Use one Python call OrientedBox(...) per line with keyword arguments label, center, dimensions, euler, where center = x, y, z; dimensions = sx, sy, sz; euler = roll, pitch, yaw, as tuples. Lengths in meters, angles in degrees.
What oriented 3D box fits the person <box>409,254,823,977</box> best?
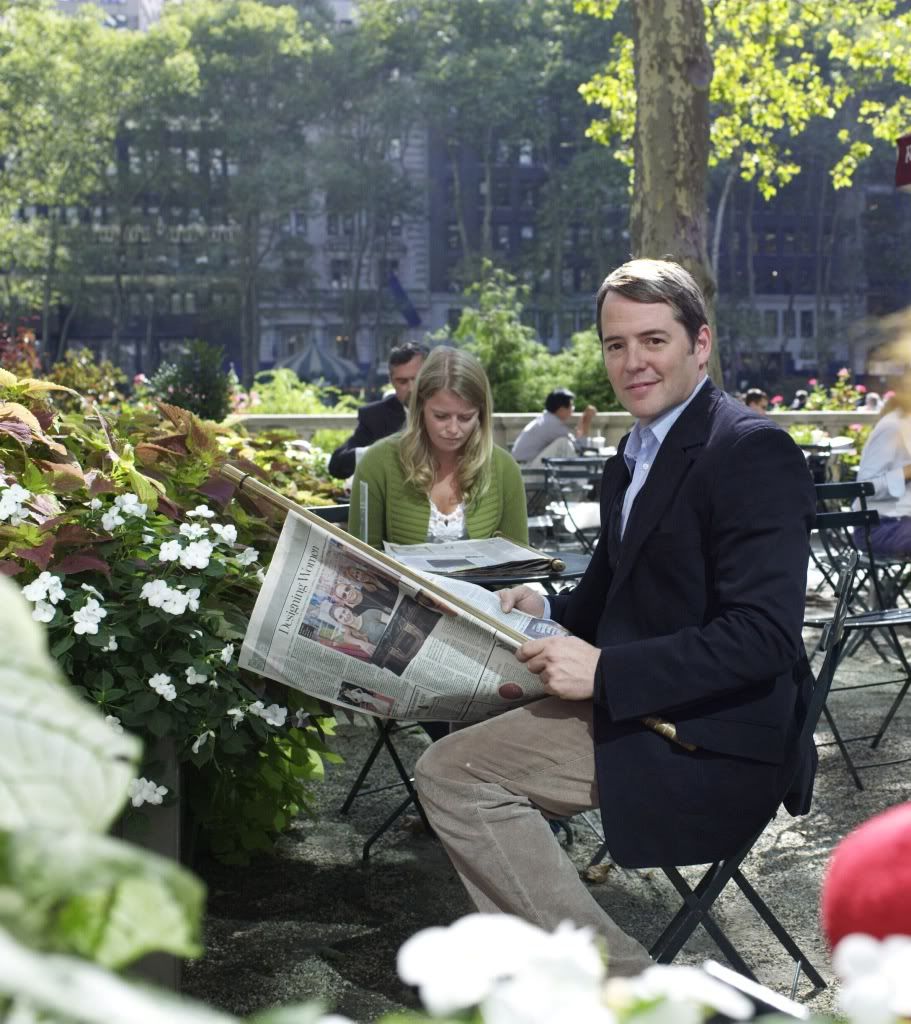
OrientedBox(label="person", center=(0.281, 0.100, 2.304), dimensions=(0.646, 1.065, 0.619), euler=(-3, 6, -35))
